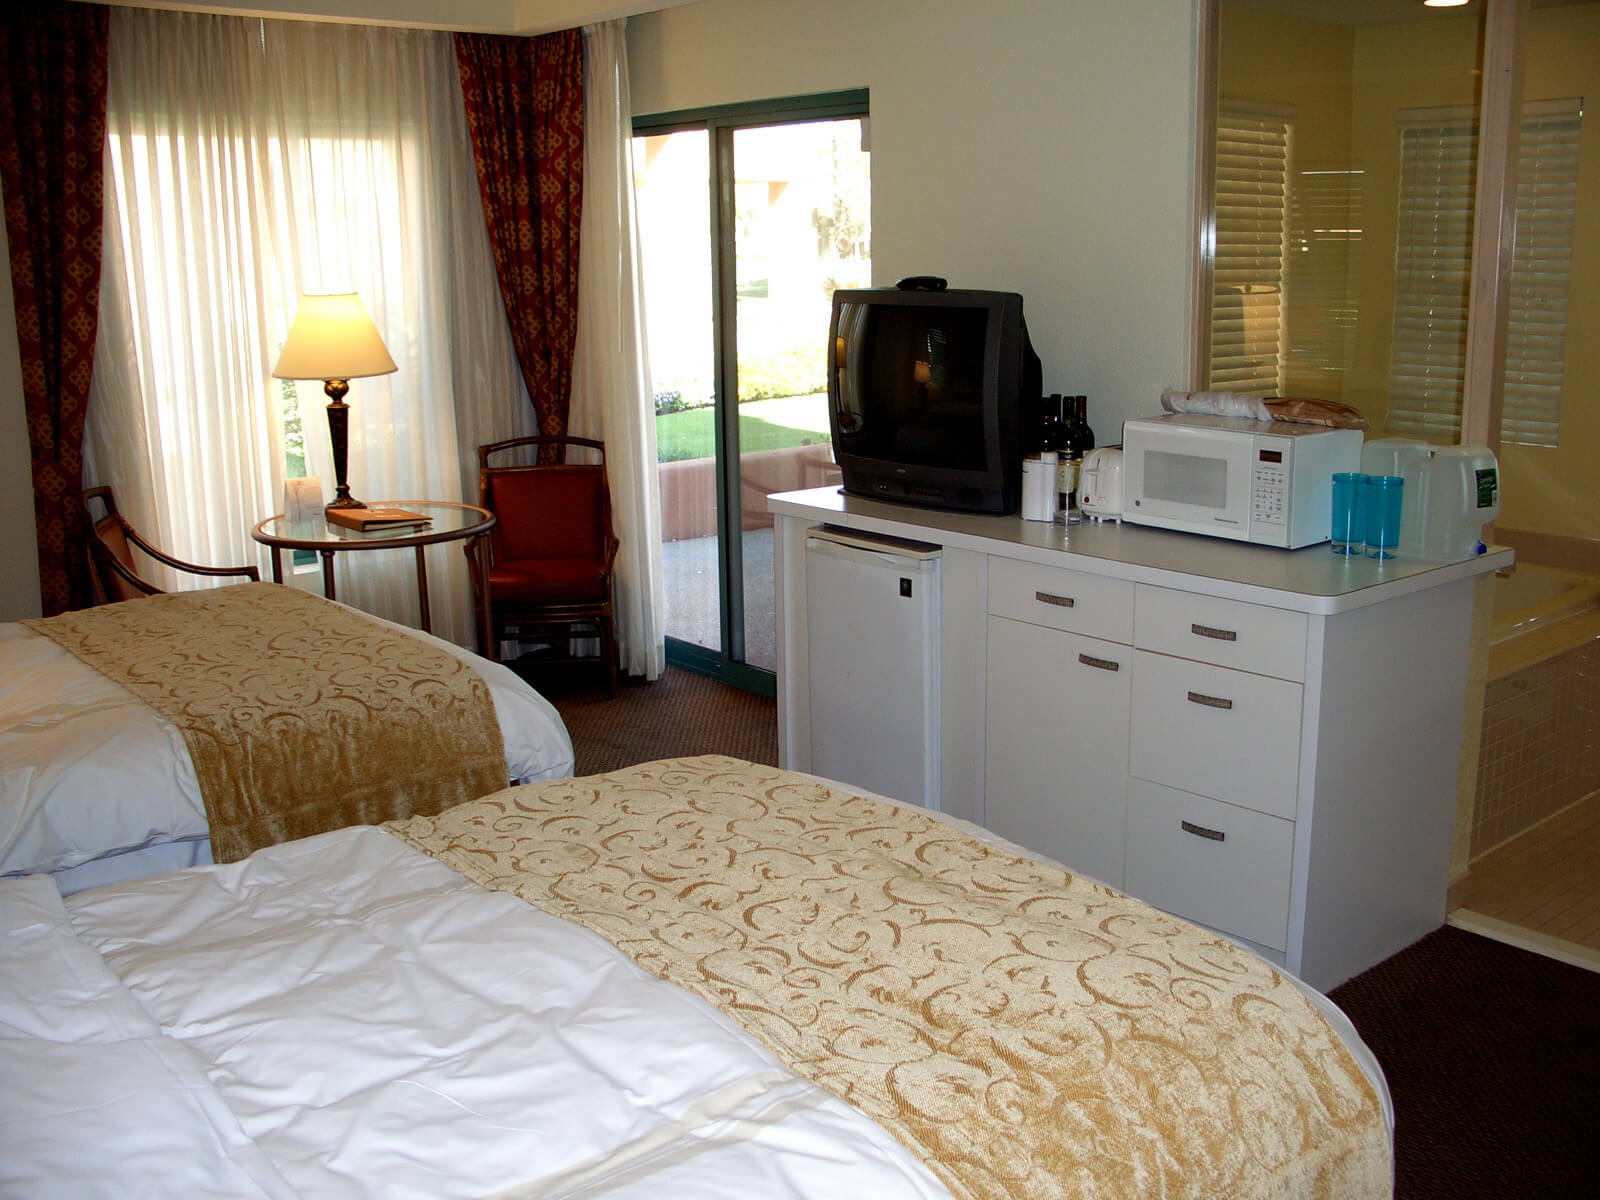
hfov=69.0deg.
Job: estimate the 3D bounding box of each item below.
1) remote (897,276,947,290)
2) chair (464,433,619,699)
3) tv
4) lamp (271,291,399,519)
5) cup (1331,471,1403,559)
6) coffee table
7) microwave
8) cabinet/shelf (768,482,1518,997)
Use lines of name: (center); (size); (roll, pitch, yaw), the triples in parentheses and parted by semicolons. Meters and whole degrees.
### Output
remote: (0.420, -1.089, 4.021); (0.149, 0.048, 0.214); (-1, 15, 1)
chair: (-1.190, -0.199, 5.590); (0.720, 1.132, 0.735); (-6, 15, -25)
tv: (0.530, -0.744, 4.220); (0.463, 0.788, 0.825); (-16, 24, -42)
lamp: (-2.076, -0.886, 5.181); (0.459, 0.924, 0.479); (-14, 20, -38)
cup: (1.588, -0.229, 3.265); (0.197, 0.239, 0.156); (1, 16, 2)
coffee table: (-1.860, -0.190, 5.154); (0.734, 0.825, 0.769); (13, 22, 29)
microwave: (1.329, -0.381, 3.573); (0.408, 0.329, 0.575); (-16, 20, -39)
cabinet/shelf: (1.038, 0.371, 3.121); (0.579, 0.725, 1.337); (-9, 15, -41)
